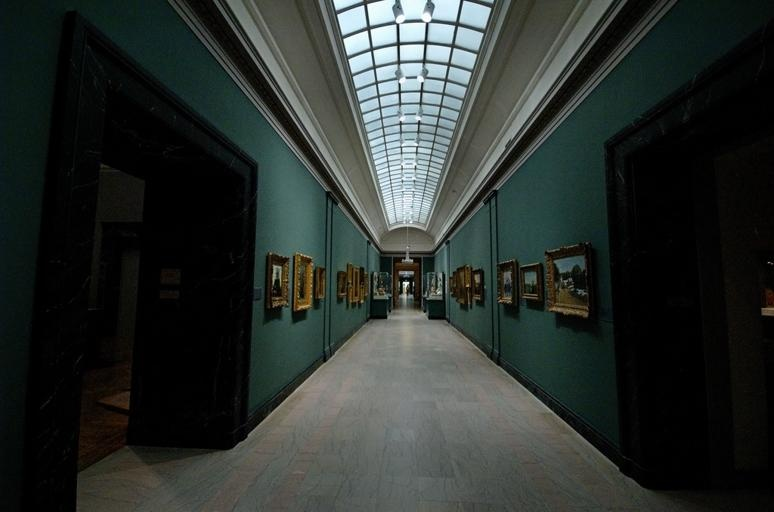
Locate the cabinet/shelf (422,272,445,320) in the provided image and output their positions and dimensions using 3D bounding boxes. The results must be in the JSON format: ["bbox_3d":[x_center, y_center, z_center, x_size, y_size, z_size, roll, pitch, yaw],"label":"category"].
[{"bbox_3d":[2.576,1.930,26.020,0.827,2.416,4.500,1,5,2],"label":"cabinet/shelf"}]
